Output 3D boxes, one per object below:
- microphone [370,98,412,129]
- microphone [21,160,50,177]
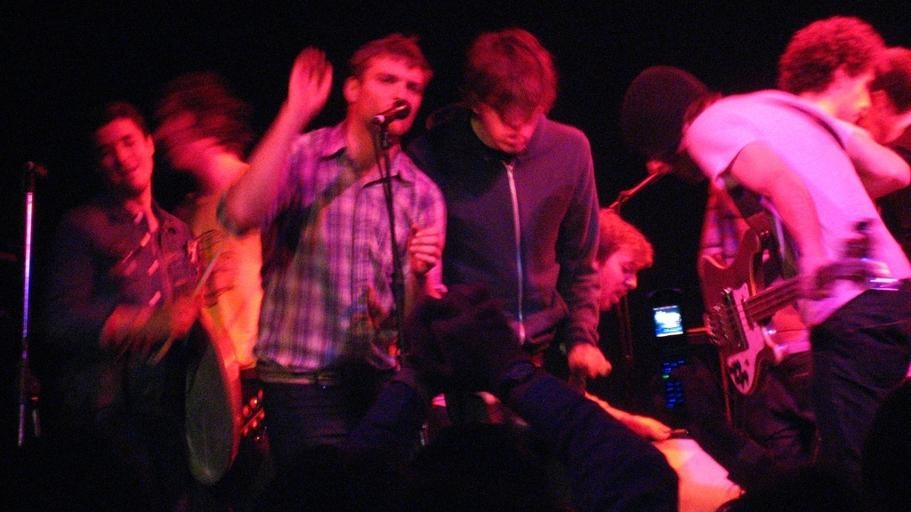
[{"bbox_3d":[-0.367,-0.806,4.329,0.213,0.204,0.199,-1,-8,-3],"label":"microphone"},{"bbox_3d":[-2.747,-0.571,4.954,0.144,0.055,0.113,12,15,38],"label":"microphone"}]
